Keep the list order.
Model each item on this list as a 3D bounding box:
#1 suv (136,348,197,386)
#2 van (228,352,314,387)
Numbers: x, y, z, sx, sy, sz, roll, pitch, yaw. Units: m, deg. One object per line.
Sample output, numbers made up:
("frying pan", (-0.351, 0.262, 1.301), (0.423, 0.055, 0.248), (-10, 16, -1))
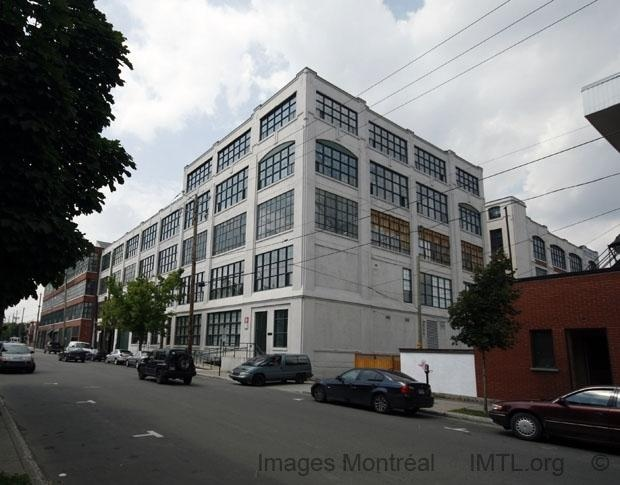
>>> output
("suv", (-7.524, 6.471, 24.552), (1.925, 1.509, 3.294), (13, -15, -40))
("van", (-2.232, 7.374, 26.516), (3.854, 1.459, 2.045), (13, -21, -37))
